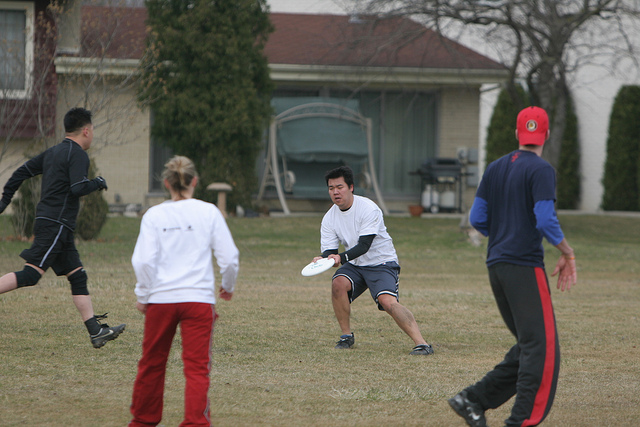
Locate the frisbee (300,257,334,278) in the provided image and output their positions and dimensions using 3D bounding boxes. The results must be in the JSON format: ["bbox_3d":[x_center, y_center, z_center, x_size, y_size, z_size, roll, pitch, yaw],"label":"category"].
[{"bbox_3d":[-0.058,0.888,20.591,0.489,0.287,0.377,0,3,0],"label":"frisbee"}]

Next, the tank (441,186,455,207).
[{"bbox_3d":[3.096,-0.323,32.746,0.388,0.695,0.397,0,3,13],"label":"tank"}]

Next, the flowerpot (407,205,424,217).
[{"bbox_3d":[2.317,0.008,32.483,0.293,0.217,0.299,2,0,10],"label":"flowerpot"}]
